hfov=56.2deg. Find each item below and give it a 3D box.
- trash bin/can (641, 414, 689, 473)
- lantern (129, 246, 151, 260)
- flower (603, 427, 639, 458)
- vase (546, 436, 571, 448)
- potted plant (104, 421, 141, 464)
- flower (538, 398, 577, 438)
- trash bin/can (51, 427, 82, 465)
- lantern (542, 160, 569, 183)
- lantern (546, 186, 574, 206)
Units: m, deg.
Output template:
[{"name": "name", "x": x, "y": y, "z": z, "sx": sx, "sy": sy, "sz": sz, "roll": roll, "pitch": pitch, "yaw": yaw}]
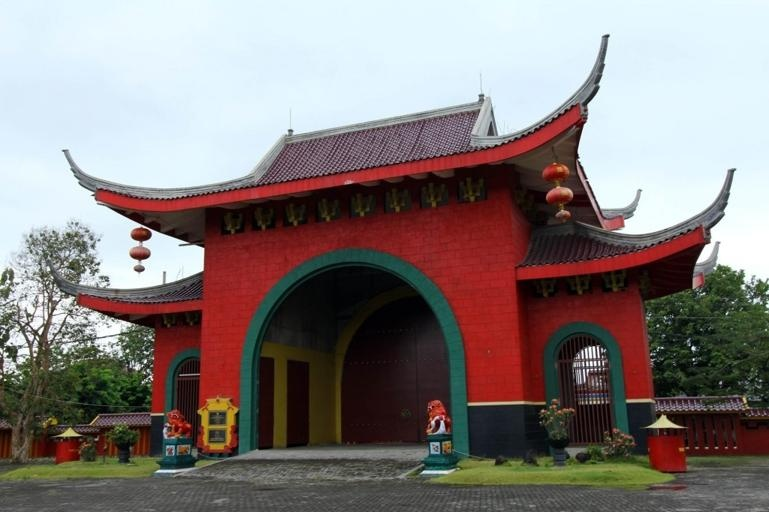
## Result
[{"name": "trash bin/can", "x": 6.399, "y": 4.267, "z": 16.399, "sx": 0.989, "sy": 1.284, "sz": 0.926, "roll": -8, "pitch": -11, "yaw": 29}, {"name": "lantern", "x": -5.807, "y": -0.043, "z": 17.043, "sx": 0.352, "sy": 0.355, "sz": 0.347, "roll": 10, "pitch": -8, "yaw": -44}, {"name": "flower", "x": 5.486, "y": 4.423, "z": 17.066, "sx": 0.837, "sy": 0.774, "sz": 0.655, "roll": 1, "pitch": -14, "yaw": 2}, {"name": "vase", "x": 3.909, "y": 4.222, "z": 16.183, "sx": 0.414, "sy": 0.278, "sz": 0.310, "roll": -3, "pitch": -19, "yaw": 2}, {"name": "potted plant", "x": -7.283, "y": 5.282, "z": 20.095, "sx": 0.816, "sy": 1.104, "sz": 0.783, "roll": -6, "pitch": -20, "yaw": 10}, {"name": "flower", "x": 4.214, "y": 4.096, "z": 17.674, "sx": 0.794, "sy": 0.844, "sz": 0.844, "roll": -11, "pitch": -18, "yaw": 7}, {"name": "trash bin/can", "x": -10.360, "y": 6.278, "z": 23.556, "sx": 1.051, "sy": 1.056, "sz": 0.996, "roll": 11, "pitch": -19, "yaw": -31}, {"name": "lantern", "x": 4.076, "y": -1.958, "z": 17.214, "sx": 0.582, "sy": 0.554, "sz": 0.578, "roll": 0, "pitch": -1, "yaw": -35}, {"name": "lantern", "x": 4.266, "y": -1.387, "z": 17.217, "sx": 0.578, "sy": 0.424, "sz": 0.529, "roll": -3, "pitch": -3, "yaw": -37}]
